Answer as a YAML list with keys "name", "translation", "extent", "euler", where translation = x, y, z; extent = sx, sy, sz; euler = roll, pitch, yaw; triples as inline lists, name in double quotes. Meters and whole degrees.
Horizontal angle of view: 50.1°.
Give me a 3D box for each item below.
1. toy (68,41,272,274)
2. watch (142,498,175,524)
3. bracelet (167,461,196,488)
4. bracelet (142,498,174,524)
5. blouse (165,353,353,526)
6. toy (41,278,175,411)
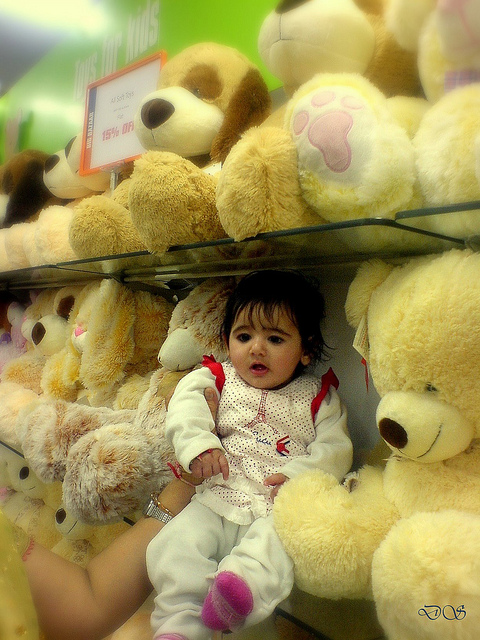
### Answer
- name: "toy"
  translation: [-0.064, -0.230, 0.917]
  extent: [0.312, 0.468, 0.325]
  euler: [-20, 28, -35]
- name: "watch"
  translation: [-0.121, 0.276, 0.736]
  extent: [0.039, 0.024, 0.036]
  euler: [7, 67, -34]
- name: "bracelet"
  translation: [-0.086, 0.229, 0.762]
  extent: [0.009, 0.027, 0.035]
  euler: [-48, 52, 5]
- name: "bracelet"
  translation: [-0.121, 0.275, 0.736]
  extent: [0.038, 0.024, 0.035]
  euler: [21, 59, -21]
- name: "blouse"
  translation: [0.018, 0.161, 0.750]
  extent: [0.210, 0.090, 0.238]
  euler: [2, 57, 22]
- name: "toy"
  translation: [-0.265, 0.050, 1.176]
  extent: [0.257, 0.310, 0.262]
  euler: [-19, 23, -35]
